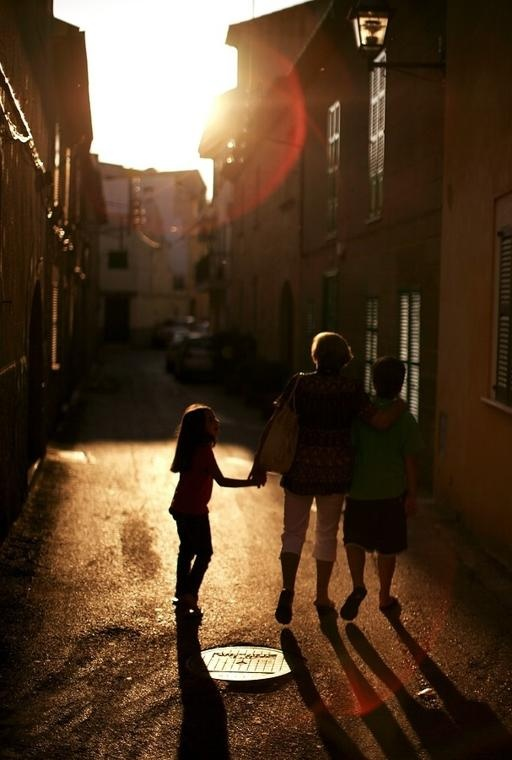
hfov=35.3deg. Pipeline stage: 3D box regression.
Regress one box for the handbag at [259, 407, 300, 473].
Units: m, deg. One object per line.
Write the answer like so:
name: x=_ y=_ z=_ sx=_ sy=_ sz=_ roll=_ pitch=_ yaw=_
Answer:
handbag: x=0.112 y=0.316 z=4.166 sx=0.204 sy=0.345 sz=0.128 roll=1 pitch=1 yaw=31

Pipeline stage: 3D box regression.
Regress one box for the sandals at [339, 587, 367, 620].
sandals: x=0.511 y=1.161 z=4.194 sx=0.084 sy=0.225 sz=0.082 roll=21 pitch=-18 yaw=10

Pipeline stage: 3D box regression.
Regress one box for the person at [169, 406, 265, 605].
person: x=-0.296 y=0.723 z=4.485 sx=0.354 sy=1.143 sz=0.580 roll=0 pitch=1 yaw=-26

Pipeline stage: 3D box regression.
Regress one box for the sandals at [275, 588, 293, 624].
sandals: x=0.152 y=1.141 z=4.073 sx=0.067 sy=0.190 sz=0.152 roll=2 pitch=-8 yaw=8

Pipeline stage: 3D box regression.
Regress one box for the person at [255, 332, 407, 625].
person: x=0.324 y=0.526 z=4.223 sx=0.701 sy=1.554 sz=0.437 roll=1 pitch=1 yaw=-1
